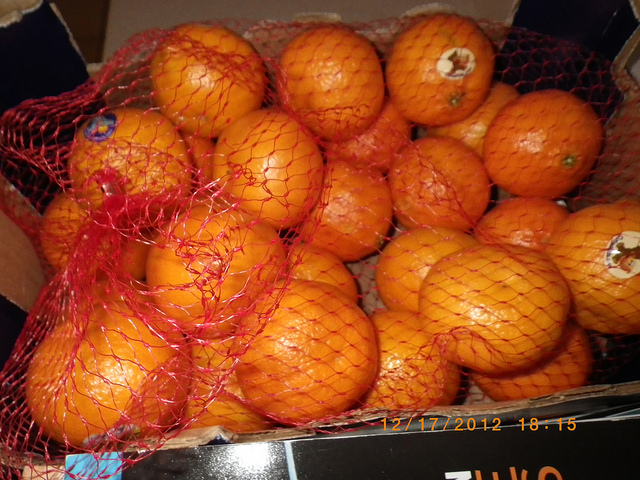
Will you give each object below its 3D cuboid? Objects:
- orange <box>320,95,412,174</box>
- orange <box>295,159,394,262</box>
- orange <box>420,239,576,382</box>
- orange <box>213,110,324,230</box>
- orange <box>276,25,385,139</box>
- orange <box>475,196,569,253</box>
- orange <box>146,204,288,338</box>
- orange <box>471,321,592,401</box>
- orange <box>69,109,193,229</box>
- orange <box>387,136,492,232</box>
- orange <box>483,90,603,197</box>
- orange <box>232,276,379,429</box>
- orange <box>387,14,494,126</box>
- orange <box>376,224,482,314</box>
[{"bbox_3d":[0.085,-0.151,0.957,0.129,0.128,0.128,-16,76,10],"label":"orange"},{"bbox_3d":[0.038,-0.044,0.930,0.153,0.120,0.116,-15,35,-32],"label":"orange"},{"bbox_3d":[0.300,0.115,0.820,0.155,0.163,0.096,-23,81,-28],"label":"orange"},{"bbox_3d":[-0.062,-0.098,0.902,0.153,0.163,0.182,-9,57,-6],"label":"orange"},{"bbox_3d":[0.016,-0.224,0.877,0.129,0.120,0.147,10,49,-26],"label":"orange"},{"bbox_3d":[0.314,-0.029,0.913,0.132,0.103,0.080,-3,85,5],"label":"orange"},{"bbox_3d":[-0.123,0.019,0.836,0.208,0.178,0.179,-7,107,-9],"label":"orange"},{"bbox_3d":[0.309,0.178,0.895,0.119,0.065,0.120,-24,101,-9],"label":"orange"},{"bbox_3d":[-0.294,-0.094,0.882,0.177,0.148,0.098,11,94,-15],"label":"orange"},{"bbox_3d":[0.180,-0.082,0.951,0.139,0.147,0.146,29,34,36],"label":"orange"},{"bbox_3d":[0.356,-0.148,0.932,0.161,0.135,0.172,-19,45,40],"label":"orange"},{"bbox_3d":[-0.017,0.127,0.819,0.187,0.106,0.194,2,91,-2],"label":"orange"},{"bbox_3d":[0.199,-0.260,0.934,0.138,0.132,0.170,2,63,33],"label":"orange"},{"bbox_3d":[0.168,0.021,0.913,0.156,0.132,0.136,2,90,20],"label":"orange"}]
